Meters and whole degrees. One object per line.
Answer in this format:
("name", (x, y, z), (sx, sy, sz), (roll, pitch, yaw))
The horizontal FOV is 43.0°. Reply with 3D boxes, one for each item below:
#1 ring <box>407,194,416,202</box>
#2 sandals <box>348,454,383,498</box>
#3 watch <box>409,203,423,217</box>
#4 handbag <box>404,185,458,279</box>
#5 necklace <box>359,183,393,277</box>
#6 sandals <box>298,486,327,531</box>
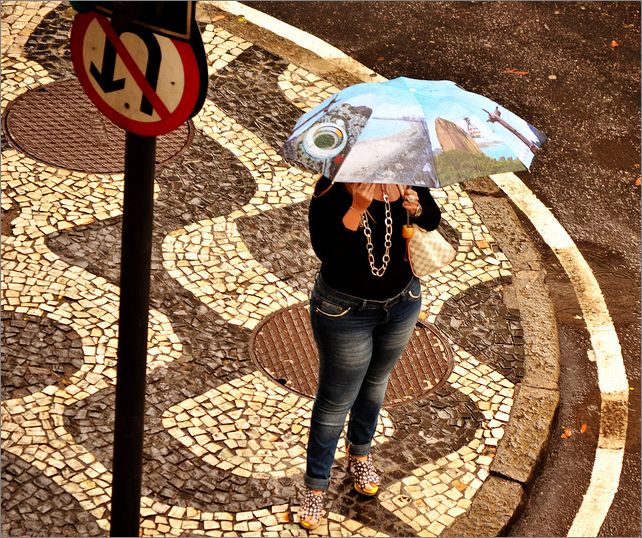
("ring", (0.482, -0.383, 4.409), (0.041, 0.015, 0.029), (43, 93, -6))
("sandals", (0.260, 1.316, 5.156), (0.158, 0.109, 0.313), (-16, 44, -17))
("watch", (0.522, -0.316, 4.477), (0.085, 0.028, 0.074), (-10, 40, 13))
("handbag", (0.545, -0.139, 4.470), (0.246, 0.111, 0.307), (-39, 86, -15))
("necklace", (0.269, -0.173, 4.466), (0.139, 0.046, 0.400), (5, 67, -39))
("sandals", (-0.047, 1.449, 4.950), (0.130, 0.118, 0.291), (5, 40, 6))
